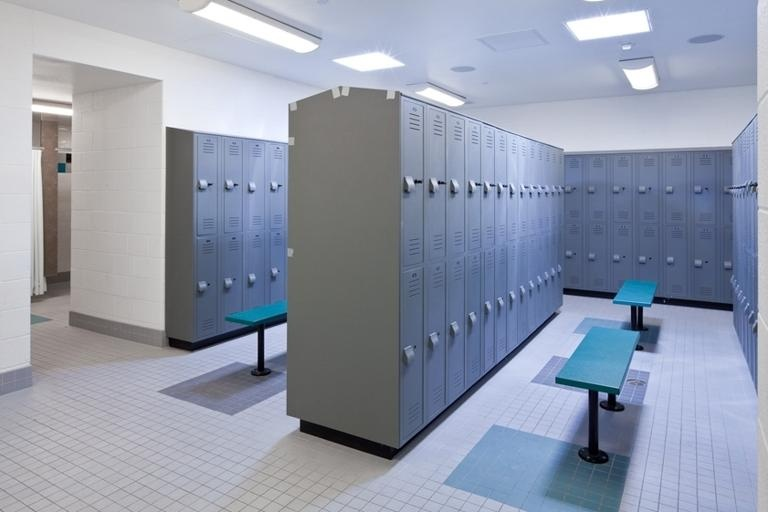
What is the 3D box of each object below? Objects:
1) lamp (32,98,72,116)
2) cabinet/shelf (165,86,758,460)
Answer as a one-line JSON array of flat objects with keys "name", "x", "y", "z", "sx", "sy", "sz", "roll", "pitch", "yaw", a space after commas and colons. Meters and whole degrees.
[{"name": "lamp", "x": -5.946, "y": -2.637, "z": 8.765, "sx": 0.562, "sy": 0.248, "sz": 1.180, "roll": -9, "pitch": 18, "yaw": -30}, {"name": "cabinet/shelf", "x": 0.938, "y": 0.212, "z": 6.061, "sx": 2.958, "sy": 2.413, "sz": 4.889, "roll": 4, "pitch": 7, "yaw": 34}]
